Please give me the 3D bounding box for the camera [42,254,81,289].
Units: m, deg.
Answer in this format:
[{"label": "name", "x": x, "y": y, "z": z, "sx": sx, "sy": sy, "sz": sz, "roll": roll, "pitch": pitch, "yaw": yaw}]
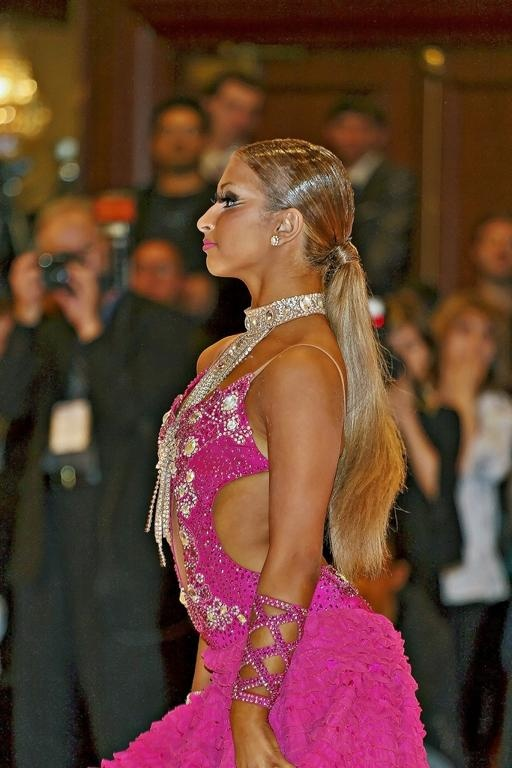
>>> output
[{"label": "camera", "x": -0.624, "y": -0.362, "z": 2.513, "sx": 0.092, "sy": 0.055, "sz": 0.089, "roll": 27, "pitch": 12, "yaw": 11}]
